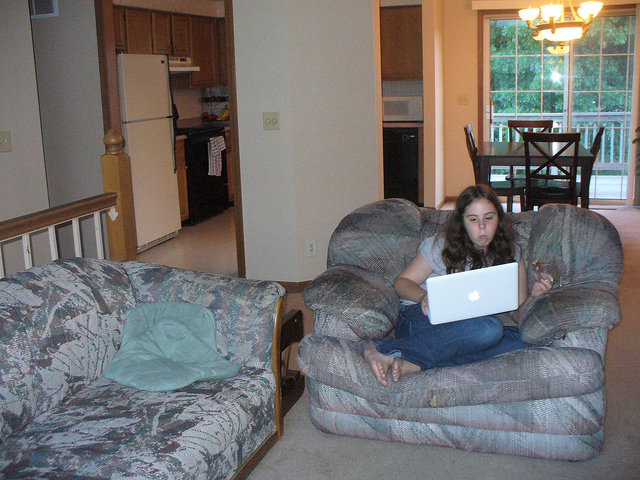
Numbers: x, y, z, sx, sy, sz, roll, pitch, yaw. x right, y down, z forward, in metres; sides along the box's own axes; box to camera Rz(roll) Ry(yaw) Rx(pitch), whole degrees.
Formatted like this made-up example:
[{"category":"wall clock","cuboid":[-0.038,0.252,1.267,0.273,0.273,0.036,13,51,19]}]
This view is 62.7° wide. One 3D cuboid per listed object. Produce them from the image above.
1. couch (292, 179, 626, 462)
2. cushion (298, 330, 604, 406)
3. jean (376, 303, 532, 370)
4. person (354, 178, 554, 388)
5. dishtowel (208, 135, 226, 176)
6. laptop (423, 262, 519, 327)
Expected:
[{"category":"couch","cuboid":[0.731,0.376,2.658,1.462,0.963,1.168,-1,14,24]},{"category":"cushion","cuboid":[0.604,0.555,2.260,1.138,0.132,0.728,5,11,21]},{"category":"jean","cuboid":[0.562,0.427,2.678,0.787,0.267,0.637,4,11,-12]},{"category":"person","cuboid":[0.767,0.147,2.507,1.117,0.822,0.668,-2,10,-4]},{"category":"dishtowel","cuboid":[-1.331,-1.090,6.737,0.183,0.492,0.312,-3,12,0]},{"category":"laptop","cuboid":[0.628,0.189,2.365,0.425,0.274,0.313,-7,23,-20]}]
